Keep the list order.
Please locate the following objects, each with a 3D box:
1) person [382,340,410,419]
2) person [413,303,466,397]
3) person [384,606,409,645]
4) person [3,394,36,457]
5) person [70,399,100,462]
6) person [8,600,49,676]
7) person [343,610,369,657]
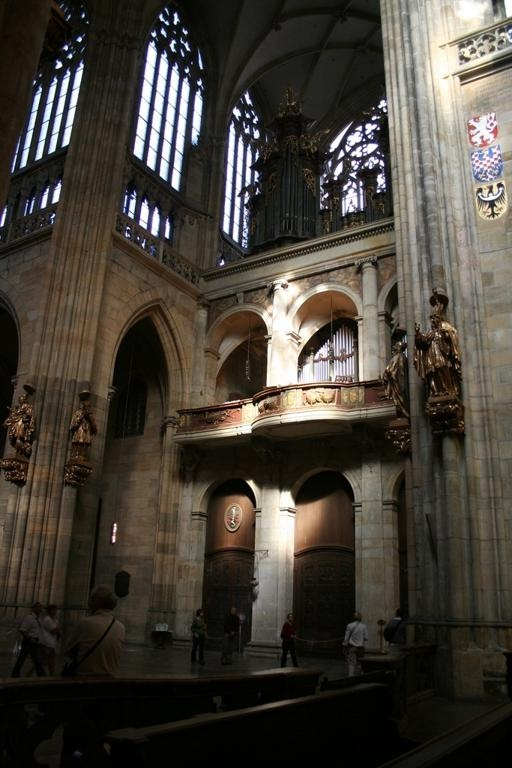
[{"bbox_3d":[2.503,-0.115,11.024,0.428,1.570,0.420,-1,-19,10],"label":"person"},{"bbox_3d":[2.950,-0.576,10.052,0.722,1.865,0.397,-4,-20,18],"label":"person"},{"bbox_3d":[2.103,3.729,9.323,0.324,0.516,1.533,-2,-20,12],"label":"person"},{"bbox_3d":[-5.180,0.862,13.399,0.575,1.584,0.437,-5,-20,19],"label":"person"},{"bbox_3d":[-3.850,0.971,13.673,0.468,1.604,0.653,-5,-20,19],"label":"person"},{"bbox_3d":[-2.812,3.247,7.667,0.338,0.881,0.959,8,-20,-18],"label":"person"},{"bbox_3d":[1.617,4.154,10.069,0.354,0.684,0.930,-1,-20,9],"label":"person"}]
